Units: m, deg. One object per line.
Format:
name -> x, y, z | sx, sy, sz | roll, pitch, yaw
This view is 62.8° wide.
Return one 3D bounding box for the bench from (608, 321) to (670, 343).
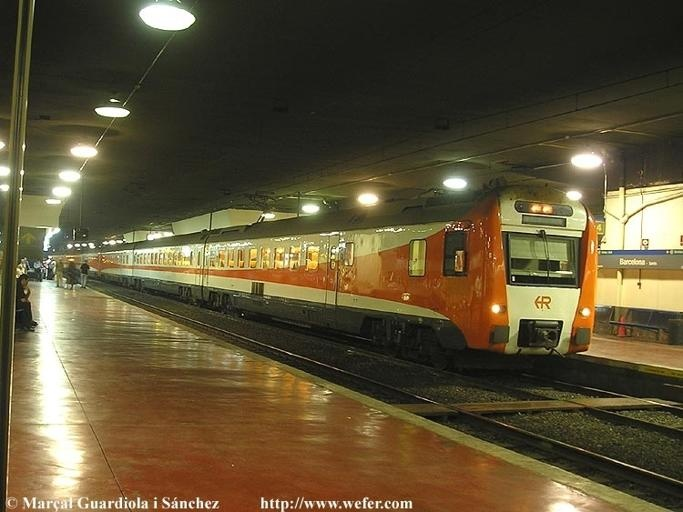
bench -> 8.919, 2.279, 17.013 | 0.646, 0.502, 1.855 | 9, -4, -18
